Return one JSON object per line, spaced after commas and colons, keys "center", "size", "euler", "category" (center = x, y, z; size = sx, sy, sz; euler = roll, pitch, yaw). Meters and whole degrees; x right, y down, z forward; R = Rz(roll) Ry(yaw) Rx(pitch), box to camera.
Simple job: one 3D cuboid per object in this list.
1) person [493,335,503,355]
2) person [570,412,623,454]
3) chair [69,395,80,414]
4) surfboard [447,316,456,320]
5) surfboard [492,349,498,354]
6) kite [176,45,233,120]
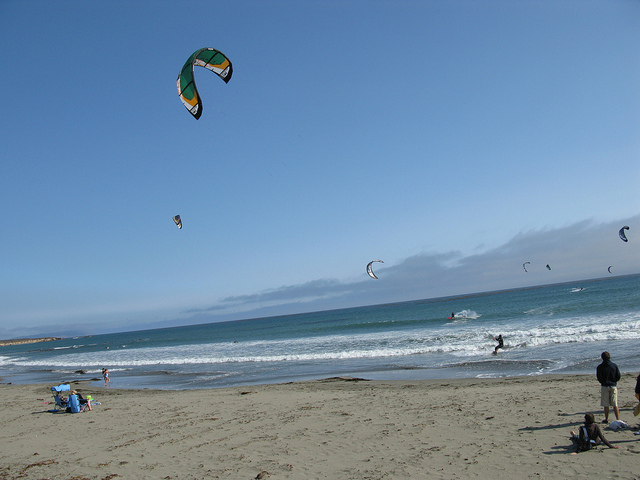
{"center": [8.755, 5.094, 22.400], "size": [0.391, 0.794, 1.428], "euler": [-12, -10, 24], "category": "person"}
{"center": [5.987, 4.272, 10.246], "size": [0.997, 0.717, 1.473], "euler": [-6, -6, 13], "category": "person"}
{"center": [-8.725, 5.822, 16.238], "size": [0.263, 0.610, 0.248], "euler": [-1, -12, -32], "category": "chair"}
{"center": [13.305, 7.818, 45.984], "size": [0.372, 0.206, 0.826], "euler": [2, 4, -23], "category": "surfboard"}
{"center": [8.479, 5.381, 22.177], "size": [0.185, 0.251, 0.331], "euler": [13, -1, 32], "category": "surfboard"}
{"center": [-3.423, -4.553, 13.458], "size": [1.776, 2.116, 0.997], "euler": [-8, -10, 2], "category": "kite"}
